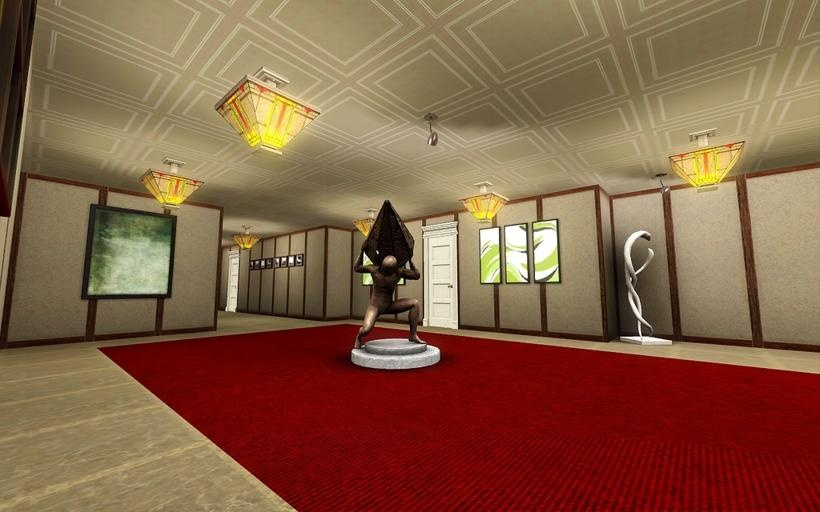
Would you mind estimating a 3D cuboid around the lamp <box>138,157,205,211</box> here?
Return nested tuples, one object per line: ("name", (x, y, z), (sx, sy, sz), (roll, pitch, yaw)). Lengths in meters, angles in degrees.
("lamp", (-4.537, -1.360, 7.595), (0.733, 0.808, 1.033), (0, -5, 33))

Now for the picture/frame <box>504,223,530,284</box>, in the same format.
("picture/frame", (2.558, -0.060, 9.637), (0.707, 1.398, 0.460), (5, 13, 24))

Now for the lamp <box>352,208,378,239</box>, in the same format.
("lamp", (-1.216, -0.869, 10.744), (0.905, 0.736, 0.930), (-2, 2, -26))

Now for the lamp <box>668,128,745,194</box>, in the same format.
("lamp", (5.158, -1.664, 6.929), (0.457, 0.741, 0.960), (7, -7, -44))

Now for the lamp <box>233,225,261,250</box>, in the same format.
("lamp", (-5.581, -0.557, 13.890), (1.049, 0.817, 1.024), (9, -7, -44))

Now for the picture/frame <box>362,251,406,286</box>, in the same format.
("picture/frame", (-0.415, 0.209, 6.678), (1.177, 0.754, 0.027), (-2, -7, 44))

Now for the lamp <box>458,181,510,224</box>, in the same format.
("lamp", (1.603, -1.154, 8.461), (1.012, 0.813, 0.968), (7, -10, -37))
